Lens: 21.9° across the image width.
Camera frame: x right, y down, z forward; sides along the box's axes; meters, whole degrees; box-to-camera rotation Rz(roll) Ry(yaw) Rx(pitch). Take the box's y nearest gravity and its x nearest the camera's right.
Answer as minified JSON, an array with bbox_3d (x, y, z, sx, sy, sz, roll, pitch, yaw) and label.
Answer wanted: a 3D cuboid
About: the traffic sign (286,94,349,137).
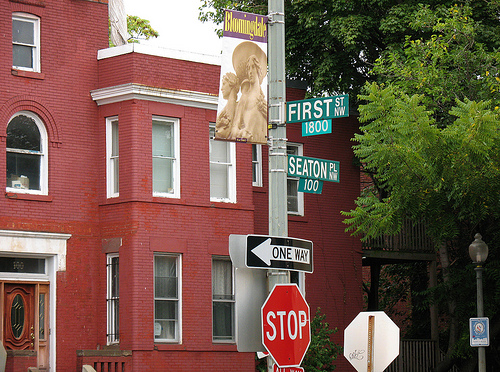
[{"bbox_3d":[1.507,-1.597,28.996,1.381,0.839,0.393,-2,-13,2],"label":"traffic sign"}]

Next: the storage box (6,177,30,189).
[{"bbox_3d":[-6.460,-0.099,36.545,0.372,0.243,0.383,2,-8,-14],"label":"storage box"}]

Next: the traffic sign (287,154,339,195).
[{"bbox_3d":[1.414,-0.216,28.981,1.343,0.821,0.124,8,-16,-22],"label":"traffic sign"}]
